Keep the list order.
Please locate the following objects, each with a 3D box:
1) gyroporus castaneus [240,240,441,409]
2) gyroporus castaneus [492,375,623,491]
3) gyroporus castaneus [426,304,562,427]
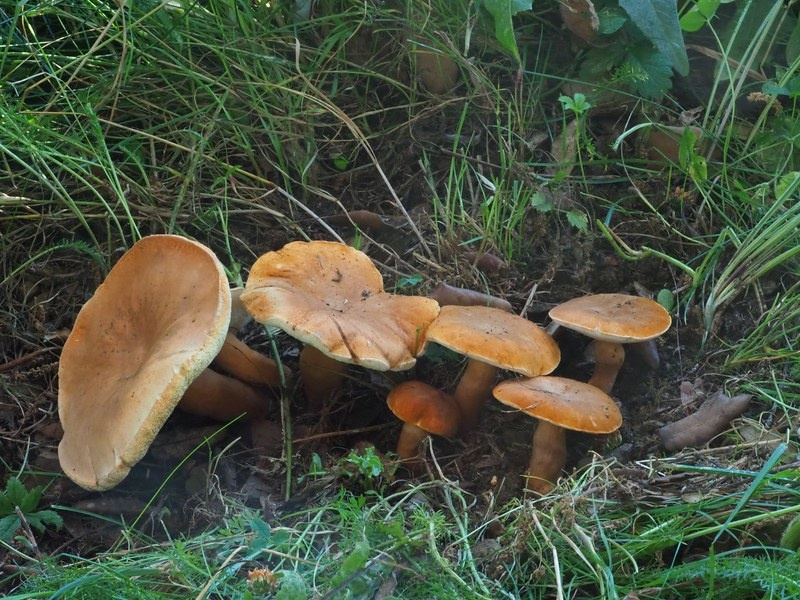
[{"bbox_3d":[-0.460,0.115,4.759,1.306,0.762,0.926,9,38,-23],"label":"gyroporus castaneus"},{"bbox_3d":[0.921,0.794,4.560,0.707,0.465,0.735,27,29,36],"label":"gyroporus castaneus"},{"bbox_3d":[0.494,0.380,4.741,0.920,0.517,0.700,6,19,-16],"label":"gyroporus castaneus"}]
